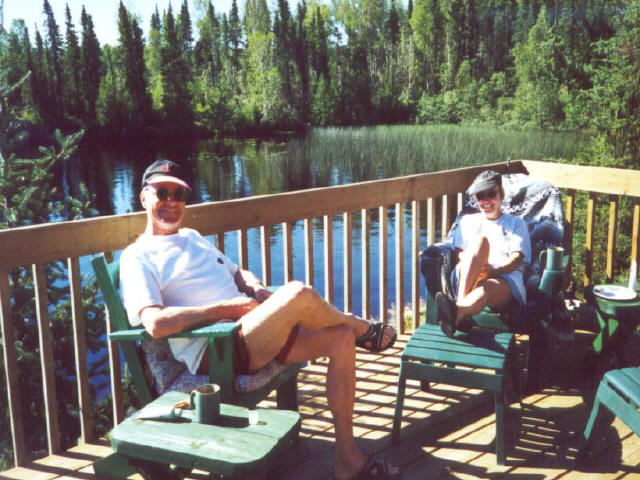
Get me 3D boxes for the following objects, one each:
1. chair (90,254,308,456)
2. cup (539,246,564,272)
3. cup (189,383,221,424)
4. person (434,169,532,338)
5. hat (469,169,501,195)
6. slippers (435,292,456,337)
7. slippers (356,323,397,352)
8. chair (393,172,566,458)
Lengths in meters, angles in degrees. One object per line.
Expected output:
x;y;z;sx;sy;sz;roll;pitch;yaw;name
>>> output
-0.631;0.615;3.694;0.921;1.269;0.909;-1;4;15;chair
1.510;0.135;4.091;0.148;0.174;0.167;1;12;26;cup
-0.533;0.779;3.002;0.108;0.188;0.164;-5;8;-44;cup
1.133;0.084;4.250;0.542;1.026;1.218;2;11;26;person
1.193;-0.440;4.549;0.135;0.079;0.220;-31;3;30;hat
0.775;0.455;3.868;0.120;0.276;0.116;0;10;19;slippers
0.323;0.568;3.617;0.224;0.148;0.098;-3;2;12;slippers
1.162;0.278;4.366;0.810;1.508;2.197;4;27;24;chair
